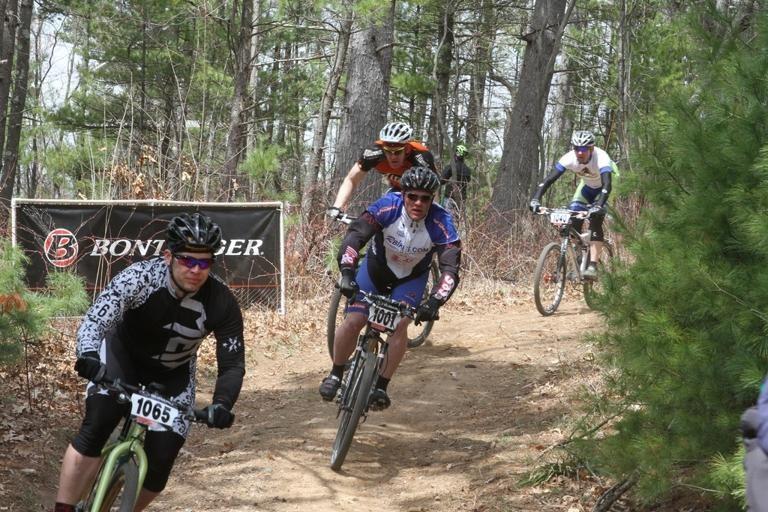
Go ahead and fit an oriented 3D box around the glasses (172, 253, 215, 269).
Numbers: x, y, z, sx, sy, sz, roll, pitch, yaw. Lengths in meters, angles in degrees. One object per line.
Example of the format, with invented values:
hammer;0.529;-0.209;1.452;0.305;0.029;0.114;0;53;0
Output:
glasses;-1.695;0.062;7.290;0.351;0.150;0.085;-6;13;-14

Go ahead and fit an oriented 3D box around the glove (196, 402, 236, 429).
glove;-1.478;1.376;7.090;0.268;0.160;0.208;3;-8;33

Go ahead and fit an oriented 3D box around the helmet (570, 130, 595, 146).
helmet;3.224;-1.871;13.202;0.337;0.218;0.354;-1;13;10

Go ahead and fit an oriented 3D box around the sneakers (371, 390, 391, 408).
sneakers;-0.050;1.641;9.228;0.159;0.114;0.232;26;-8;-15

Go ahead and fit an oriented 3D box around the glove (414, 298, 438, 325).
glove;0.486;0.617;8.880;0.164;0.099;0.292;10;42;7

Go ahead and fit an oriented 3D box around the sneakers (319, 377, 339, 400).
sneakers;-0.630;1.528;9.393;0.152;0.108;0.303;13;47;-2

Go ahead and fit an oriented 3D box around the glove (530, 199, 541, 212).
glove;2.477;-0.803;13.412;0.129;0.234;0.125;17;54;17
